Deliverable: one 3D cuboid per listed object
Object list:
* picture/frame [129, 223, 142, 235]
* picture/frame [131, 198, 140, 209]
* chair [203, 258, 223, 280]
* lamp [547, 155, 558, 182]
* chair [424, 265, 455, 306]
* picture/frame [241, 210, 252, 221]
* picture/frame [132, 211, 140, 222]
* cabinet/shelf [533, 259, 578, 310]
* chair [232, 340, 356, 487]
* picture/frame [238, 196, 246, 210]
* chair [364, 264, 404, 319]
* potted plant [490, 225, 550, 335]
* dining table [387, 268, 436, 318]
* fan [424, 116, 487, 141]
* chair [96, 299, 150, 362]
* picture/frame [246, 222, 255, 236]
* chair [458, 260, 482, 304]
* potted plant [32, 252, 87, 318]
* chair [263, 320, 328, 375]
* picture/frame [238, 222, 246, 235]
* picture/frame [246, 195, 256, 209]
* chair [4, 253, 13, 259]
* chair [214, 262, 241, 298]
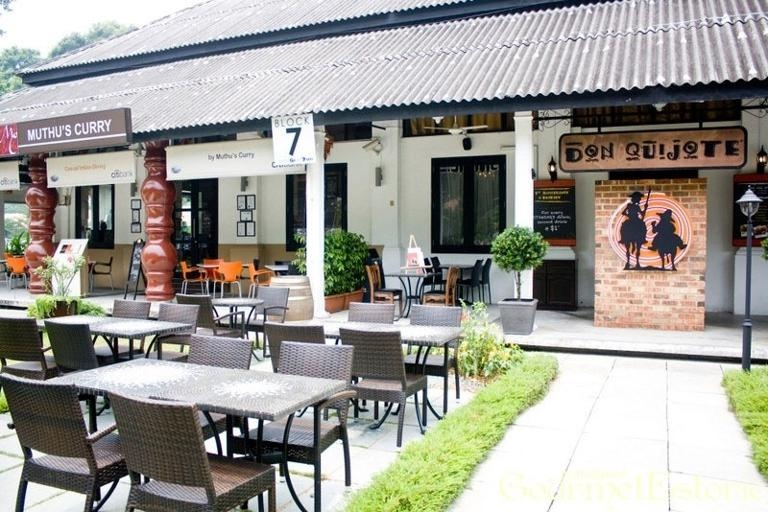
[{"bbox_3d":[-7.599,-0.832,20.662,0.315,0.302,0.048,2,-1,15],"label":"picture/frame"},{"bbox_3d":[-7.600,-1.576,20.648,0.321,0.329,0.080,1,2,28],"label":"picture/frame"},{"bbox_3d":[-4.262,0.309,16.652,0.559,0.430,0.584,0,0,-6],"label":"chair"},{"bbox_3d":[3.929,-2.024,15.706,0.223,0.613,0.381,0,2,14],"label":"lamp"},{"bbox_3d":[1.228,0.655,14.394,0.649,0.854,1.204,0,2,14],"label":"chair"},{"bbox_3d":[-3.889,-1.129,19.053,0.448,0.318,0.038,1,2,29],"label":"picture/frame"},{"bbox_3d":[-7.593,-1.211,20.645,0.311,0.458,0.043,1,0,15],"label":"picture/frame"},{"bbox_3d":[3.858,0.643,15.100,1.005,1.054,0.577,2,6,21],"label":"cabinet/shelf"},{"bbox_3d":[-1.129,1.834,7.987,1.427,1.972,1.395,-1,-4,31],"label":"chair"},{"bbox_3d":[-4.038,-1.506,19.107,0.318,0.362,0.328,1,2,14],"label":"picture/frame"},{"bbox_3d":[0.096,0.739,14.792,0.947,1.670,0.928,0,1,16],"label":"chair"},{"bbox_3d":[2.489,0.438,12.324,0.909,1.940,0.679,0,2,26],"label":"potted plant"},{"bbox_3d":[0.617,1.147,15.364,0.814,0.923,1.789,2,4,16],"label":"dining table"},{"bbox_3d":[1.789,-3.108,16.460,0.880,0.367,0.787,0,2,-35],"label":"fan"},{"bbox_3d":[-3.952,1.040,10.116,0.612,1.266,0.841,1,-4,10],"label":"chair"},{"bbox_3d":[-3.745,-0.746,18.985,0.348,0.401,0.034,1,2,30],"label":"picture/frame"},{"bbox_3d":[2.014,0.612,15.860,0.574,1.074,1.526,0,2,7],"label":"chair"},{"bbox_3d":[-6.558,0.608,13.699,1.030,1.224,0.915,1,-2,-19],"label":"potted plant"},{"bbox_3d":[-1.167,1.071,8.499,0.539,0.814,0.698,2,6,25],"label":"chair"},{"bbox_3d":[-4.030,-0.765,19.124,0.321,0.487,0.046,1,0,21],"label":"picture/frame"},{"bbox_3d":[-3.731,-1.509,18.961,0.347,0.455,0.042,1,1,14],"label":"picture/frame"},{"bbox_3d":[-10.604,0.007,19.027,0.161,0.162,0.165,-1,7,-13],"label":"chair"},{"bbox_3d":[-3.863,0.586,16.616,0.776,1.189,0.771,-1,4,-24],"label":"chair"}]
